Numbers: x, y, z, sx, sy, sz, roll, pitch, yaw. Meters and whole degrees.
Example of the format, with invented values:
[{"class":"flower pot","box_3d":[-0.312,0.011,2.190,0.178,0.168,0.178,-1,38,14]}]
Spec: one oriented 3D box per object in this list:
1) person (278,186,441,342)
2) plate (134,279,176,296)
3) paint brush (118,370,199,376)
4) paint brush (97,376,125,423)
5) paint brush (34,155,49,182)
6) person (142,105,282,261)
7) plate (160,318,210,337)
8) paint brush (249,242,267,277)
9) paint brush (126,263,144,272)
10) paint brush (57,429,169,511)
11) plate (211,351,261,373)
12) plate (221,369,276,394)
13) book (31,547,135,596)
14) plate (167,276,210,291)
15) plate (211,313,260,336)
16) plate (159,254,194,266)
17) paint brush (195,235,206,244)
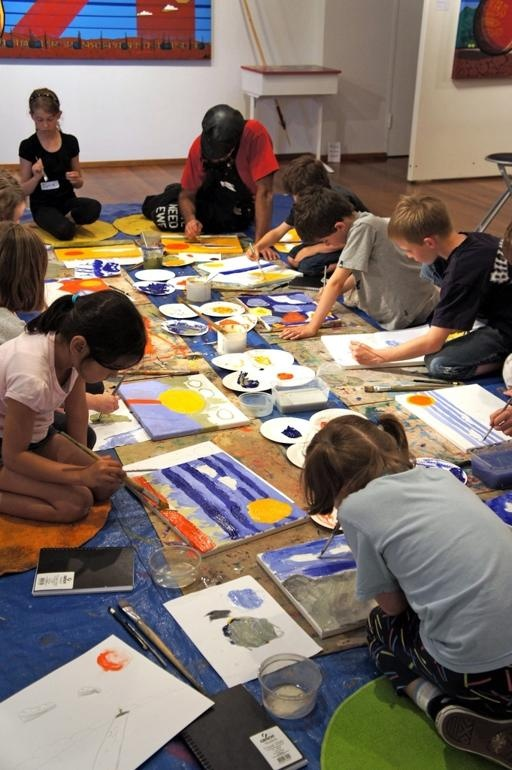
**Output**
[{"class":"person","box_3d":[0.525,-0.662,3.034,0.901,0.686,0.647,-7,18,-15]},{"class":"plate","box_3d":[-0.594,-0.572,3.313,0.226,0.057,0.223,-12,24,-26]},{"class":"paint brush","box_3d":[-0.426,-0.050,2.356,0.244,0.025,0.027,-3,3,-16]},{"class":"paint brush","box_3d":[-0.540,0.061,2.074,0.079,0.009,0.211,-6,37,-6]},{"class":"paint brush","box_3d":[-1.616,-1.608,4.186,0.050,0.140,0.087,18,58,3]},{"class":"person","box_3d":[-0.343,-1.496,4.083,0.978,1.147,0.910,-4,57,-7]},{"class":"plate","box_3d":[-0.366,-0.293,2.869,0.233,0.048,0.227,-5,22,-11]},{"class":"paint brush","box_3d":[0.010,-0.873,3.755,0.101,0.292,0.083,-26,-31,28]},{"class":"paint brush","box_3d":[-0.805,-0.761,3.640,0.041,0.018,0.153,18,26,5]},{"class":"paint brush","box_3d":[-0.440,0.267,1.690,0.390,0.031,0.065,30,23,28]},{"class":"plate","box_3d":[-0.089,-0.103,2.502,0.152,0.021,0.110,-9,33,-11]},{"class":"plate","box_3d":[-0.035,-0.008,2.335,0.129,0.021,0.126,6,32,10]},{"class":"book","box_3d":[-0.431,0.465,1.407,0.240,0.041,0.151,-3,22,-7]},{"class":"plate","box_3d":[-0.414,-0.631,3.357,0.159,0.022,0.154,7,36,9]},{"class":"plate","box_3d":[-0.102,-0.304,2.857,0.175,0.061,0.399,3,22,10]},{"class":"plate","box_3d":[-0.539,-0.855,3.831,0.202,0.050,0.279,-3,22,-6]},{"class":"paint brush","box_3d":[-0.422,-1.105,4.259,0.090,0.022,0.095,8,27,10]}]
